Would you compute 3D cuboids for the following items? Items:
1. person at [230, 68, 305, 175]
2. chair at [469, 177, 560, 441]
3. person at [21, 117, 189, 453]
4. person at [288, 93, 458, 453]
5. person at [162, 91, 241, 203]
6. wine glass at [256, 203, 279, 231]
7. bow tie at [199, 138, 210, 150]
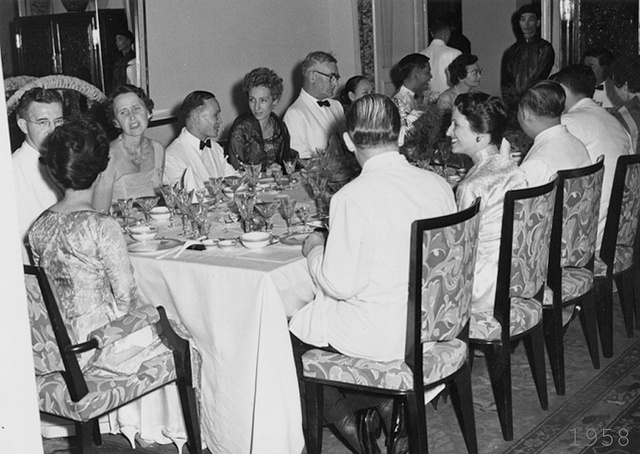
[{"bbox_3d":[-0.487,-0.795,4.995,0.633,0.967,0.548,-22,38,-33],"label":"person"},{"bbox_3d":[0.998,0.410,3.084,0.658,1.272,0.301,-12,13,-39],"label":"chair"},{"bbox_3d":[-1.003,0.027,2.498,0.380,0.923,0.235,-9,12,-28],"label":"person"},{"bbox_3d":[0.225,0.010,2.551,0.743,1.126,0.350,-5,10,-5],"label":"person"},{"bbox_3d":[-0.905,-0.637,4.539,0.459,0.735,0.840,15,24,15],"label":"person"},{"bbox_3d":[-0.287,-0.033,3.219,0.136,0.178,0.135,-7,11,-21],"label":"wine glass"},{"bbox_3d":[-0.876,-0.628,4.531,0.021,0.064,0.087,3,9,33],"label":"bow tie"}]
